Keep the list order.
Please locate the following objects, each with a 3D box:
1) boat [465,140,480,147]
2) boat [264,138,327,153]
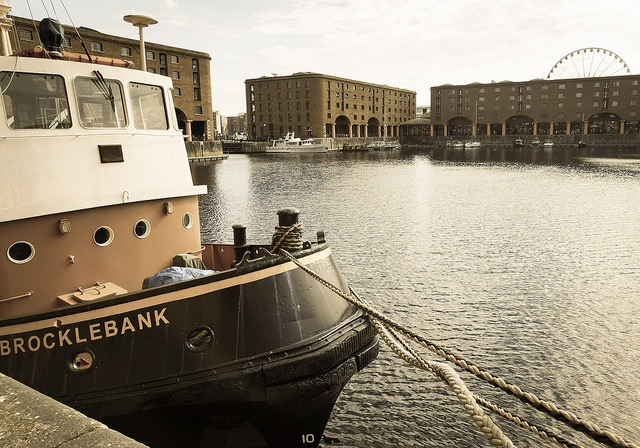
[{"bbox_3d":[30.117,-15.782,105.539,3.294,1.112,1.660,-8,15,-29],"label":"boat"},{"bbox_3d":[-3.999,-13.820,94.390,12.021,3.140,2.750,2,17,14],"label":"boat"}]
